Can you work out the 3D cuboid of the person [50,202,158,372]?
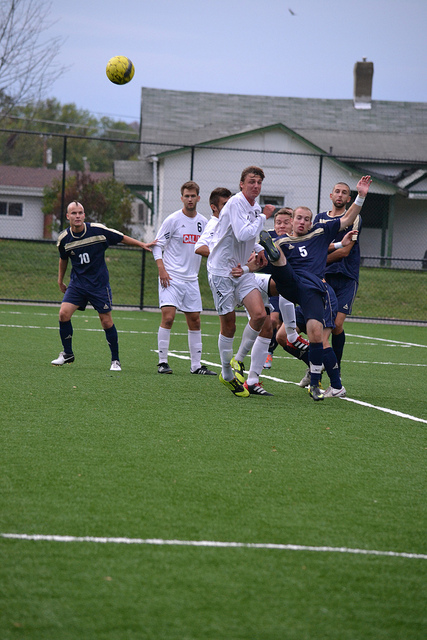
[{"bbox_3d":[-1.130,-0.338,7.393,0.774,1.587,0.906,3,5,-12],"label":"person"}]

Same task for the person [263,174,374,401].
[{"bbox_3d":[0.800,-0.297,6.246,0.797,1.905,1.435,5,5,10],"label":"person"}]

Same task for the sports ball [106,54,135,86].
[{"bbox_3d":[-1.304,-3.492,10.706,0.350,0.437,0.305,3,5,-9],"label":"sports ball"}]

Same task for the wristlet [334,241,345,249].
[{"bbox_3d":[1.080,-0.638,6.531,0.065,0.056,0.060,-23,-2,22],"label":"wristlet"}]

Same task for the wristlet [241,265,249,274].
[{"bbox_3d":[0.258,-0.403,6.069,0.059,0.058,0.062,-2,16,4],"label":"wristlet"}]
